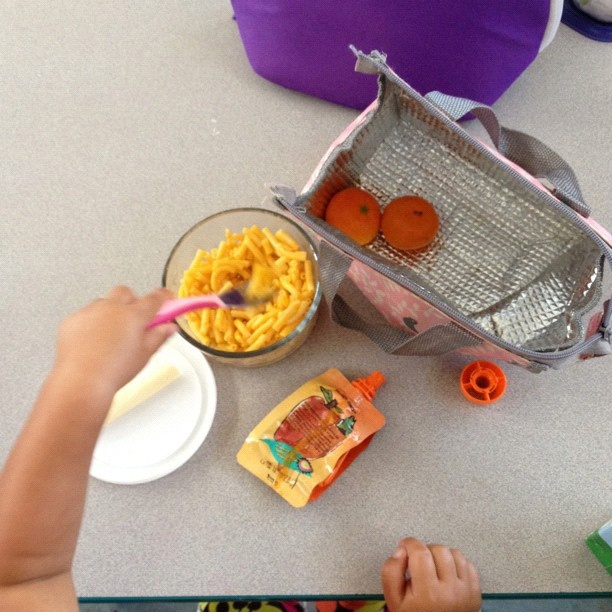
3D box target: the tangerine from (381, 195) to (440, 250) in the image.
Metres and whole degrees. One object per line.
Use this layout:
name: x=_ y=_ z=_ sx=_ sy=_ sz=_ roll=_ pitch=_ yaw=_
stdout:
tangerine: x=0.147 y=-0.116 z=0.894 sx=0.090 sy=0.096 sz=0.084 roll=0 pitch=103 yaw=12

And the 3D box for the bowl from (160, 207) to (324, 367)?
bowl: x=-0.095 y=-0.014 z=0.968 sx=0.285 sy=0.100 sz=0.231 roll=-10 pitch=87 yaw=5

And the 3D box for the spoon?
spoon: x=-0.116 y=0.002 z=0.834 sx=0.039 sy=0.219 sz=0.036 roll=-13 pitch=84 yaw=41
